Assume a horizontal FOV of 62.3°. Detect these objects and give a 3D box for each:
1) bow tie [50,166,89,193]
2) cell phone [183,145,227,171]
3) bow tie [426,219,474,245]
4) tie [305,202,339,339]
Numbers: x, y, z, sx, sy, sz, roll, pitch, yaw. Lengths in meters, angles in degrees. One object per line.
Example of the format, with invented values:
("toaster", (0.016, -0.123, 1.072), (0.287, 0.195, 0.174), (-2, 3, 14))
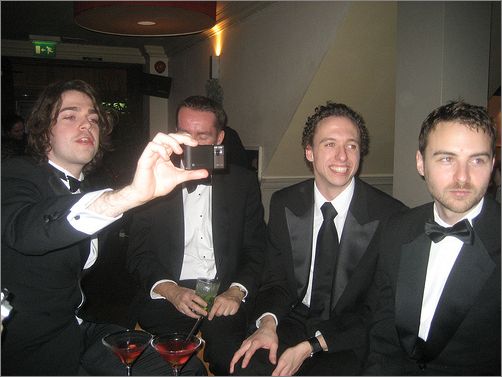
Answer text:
("bow tie", (-1.178, -0.044, 2.704), (0.152, 0.160, 0.201), (9, 13, 2))
("cell phone", (-0.263, -0.172, 2.265), (0.213, 0.136, 0.135), (-1, 1, -14))
("bow tie", (1.177, 0.243, 2.449), (0.267, 0.165, 0.144), (7, 8, 31))
("tie", (0.499, 0.511, 2.813), (0.163, 0.817, 0.165), (5, 7, 12))
